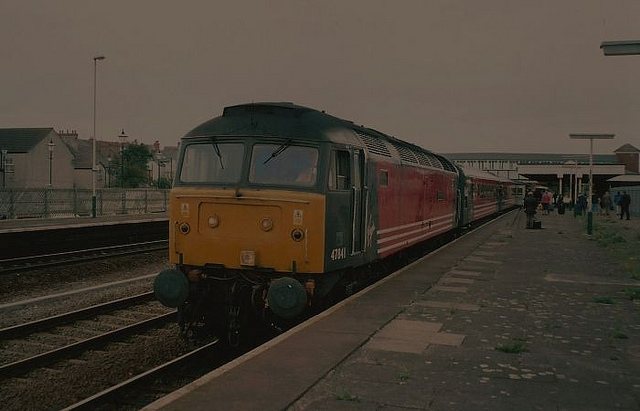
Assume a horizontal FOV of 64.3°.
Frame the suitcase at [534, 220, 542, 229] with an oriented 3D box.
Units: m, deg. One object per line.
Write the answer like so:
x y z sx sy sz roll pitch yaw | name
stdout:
12.385 1.102 28.720 0.363 0.503 0.681 1 0 5 | suitcase
